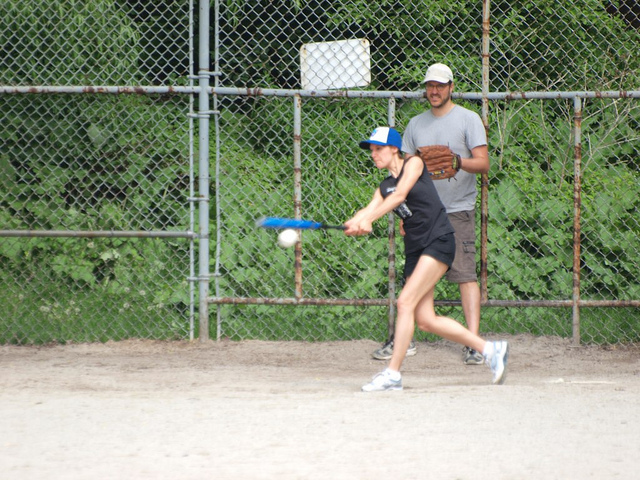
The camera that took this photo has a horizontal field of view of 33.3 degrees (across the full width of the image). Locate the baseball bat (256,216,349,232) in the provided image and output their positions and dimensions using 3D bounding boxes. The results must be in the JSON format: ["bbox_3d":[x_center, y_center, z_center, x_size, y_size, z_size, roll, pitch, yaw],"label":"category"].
[{"bbox_3d":[-0.195,-0.141,9.543,0.541,0.053,0.089,8,12,-17],"label":"baseball bat"}]

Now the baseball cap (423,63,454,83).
[{"bbox_3d":[1.072,-1.511,9.718,0.224,0.161,0.167,-9,15,-38],"label":"baseball cap"}]

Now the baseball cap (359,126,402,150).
[{"bbox_3d":[0.511,-0.876,9.041,0.280,0.154,0.189,7,-1,-9],"label":"baseball cap"}]

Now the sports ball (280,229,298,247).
[{"bbox_3d":[-0.258,-0.012,8.585,0.133,0.129,0.125,-3,-10,0],"label":"sports ball"}]

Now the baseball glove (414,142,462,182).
[{"bbox_3d":[1.101,-0.637,9.756,0.371,0.131,0.434,3,-23,4],"label":"baseball glove"}]
